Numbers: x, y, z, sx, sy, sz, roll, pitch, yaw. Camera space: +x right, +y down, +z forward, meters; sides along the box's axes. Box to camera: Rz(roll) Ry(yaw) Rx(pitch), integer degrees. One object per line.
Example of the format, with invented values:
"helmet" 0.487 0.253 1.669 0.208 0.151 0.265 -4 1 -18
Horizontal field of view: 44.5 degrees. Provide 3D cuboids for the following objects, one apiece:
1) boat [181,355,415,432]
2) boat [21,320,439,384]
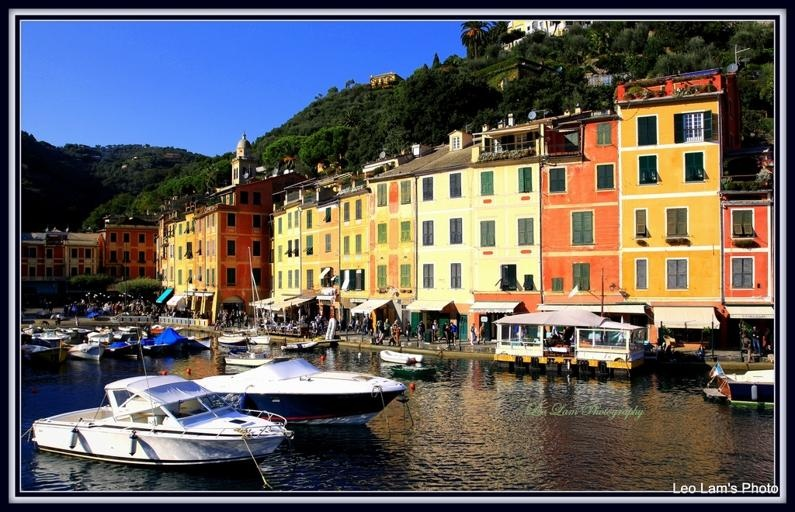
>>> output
"boat" -6.081 9.306 66.351 13.317 3.906 5.432 0 1 15
"boat" -14.352 8.535 86.198 20.707 3.651 5.330 -2 -1 25
